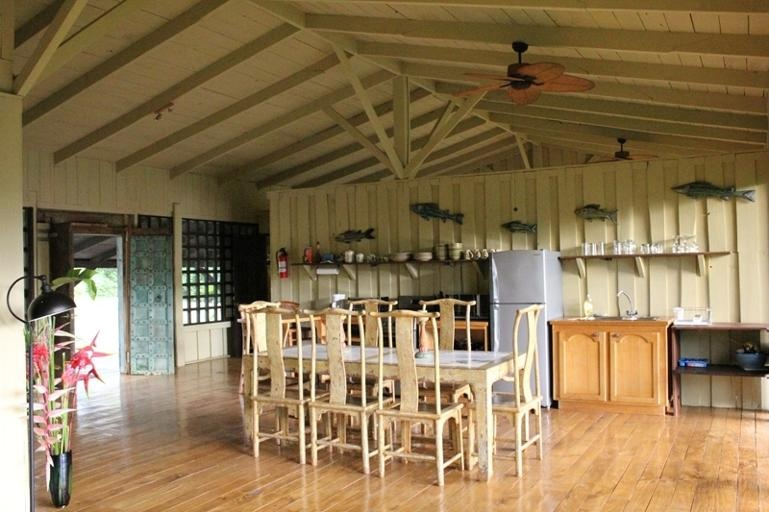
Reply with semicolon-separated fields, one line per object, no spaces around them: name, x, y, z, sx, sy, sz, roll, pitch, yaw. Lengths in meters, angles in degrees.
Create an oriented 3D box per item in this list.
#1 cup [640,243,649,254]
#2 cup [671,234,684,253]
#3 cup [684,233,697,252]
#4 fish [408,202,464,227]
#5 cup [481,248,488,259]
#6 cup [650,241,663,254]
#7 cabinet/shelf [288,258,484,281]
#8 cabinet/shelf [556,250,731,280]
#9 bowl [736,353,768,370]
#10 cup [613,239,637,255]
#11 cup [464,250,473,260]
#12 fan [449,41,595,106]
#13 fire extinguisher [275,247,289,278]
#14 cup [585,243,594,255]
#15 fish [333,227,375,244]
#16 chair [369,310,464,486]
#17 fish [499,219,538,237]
cup;3.584;-0.104;8.591;0.124;0.142;0.127;2;-1;0
cup;4.001;-0.172;8.463;0.224;0.238;0.156;1;6;25
cup;4.142;-0.186;8.433;0.192;0.227;0.110;-4;6;-20
fish;0.802;-0.679;9.786;0.849;0.366;0.198;2;6;35
cup;1.501;-0.039;9.400;0.162;0.185;0.110;0;-7;1
cup;3.719;-0.115;8.552;0.180;0.164;0.164;0;2;-3
cabinet/shelf;0.000;0.205;10.119;3.388;0.365;0.248;0;6;22
cabinet/shelf;3.595;0.123;8.614;2.182;0.400;0.269;0;5;19
bowl;4.614;1.326;7.843;0.273;0.154;0.263;-1;-10;0
cup;3.330;-0.140;8.692;0.254;0.200;0.235;0;4;0
cup;1.290;-0.022;9.517;0.119;0.138;0.160;-1;-2;28
fan;1.730;-2.172;7.373;1.498;0.693;1.336;2;5;35
fire extinguisher;-1.780;0.103;10.841;0.218;0.509;0.125;-2;6;2
cup;2.895;-0.112;8.865;0.172;0.195;0.159;0;1;0
fish;-0.487;-0.353;10.326;0.702;0.270;0.109;1;6;24
chair;0.370;1.362;6.874;0.978;1.749;1.536;-1;5;5
fish;1.996;-0.437;9.290;0.521;0.215;0.128;1;6;33
